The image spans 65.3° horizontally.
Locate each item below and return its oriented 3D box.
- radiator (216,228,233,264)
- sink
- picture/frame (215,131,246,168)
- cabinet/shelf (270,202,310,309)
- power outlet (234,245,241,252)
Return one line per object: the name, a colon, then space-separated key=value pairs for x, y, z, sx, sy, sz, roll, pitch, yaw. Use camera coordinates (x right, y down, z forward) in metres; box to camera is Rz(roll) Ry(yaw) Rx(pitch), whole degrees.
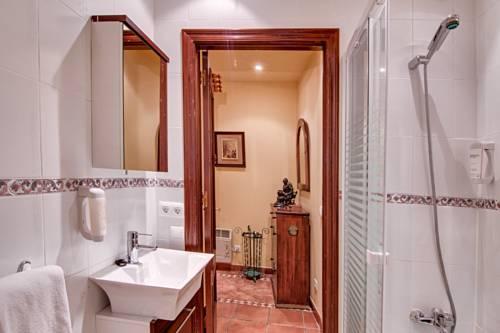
radiator: x=-0.357 y=0.918 z=4.750 sx=0.256 sy=0.468 sz=0.226 roll=3 pitch=27 yaw=0
sink: x=-0.612 y=0.716 z=2.358 sx=0.383 sy=0.174 sz=0.516 roll=2 pitch=1 yaw=11
picture/frame: x=-0.226 y=-0.214 z=4.708 sx=0.404 sy=0.494 sz=0.037 roll=1 pitch=5 yaw=7
cabinet/shelf: x=0.412 y=0.878 z=3.935 sx=0.383 sy=0.953 sz=0.423 roll=-1 pitch=-3 yaw=4
power outlet: x=-0.159 y=0.983 z=4.691 sx=0.071 sy=0.055 sz=0.073 roll=1 pitch=7 yaw=1
